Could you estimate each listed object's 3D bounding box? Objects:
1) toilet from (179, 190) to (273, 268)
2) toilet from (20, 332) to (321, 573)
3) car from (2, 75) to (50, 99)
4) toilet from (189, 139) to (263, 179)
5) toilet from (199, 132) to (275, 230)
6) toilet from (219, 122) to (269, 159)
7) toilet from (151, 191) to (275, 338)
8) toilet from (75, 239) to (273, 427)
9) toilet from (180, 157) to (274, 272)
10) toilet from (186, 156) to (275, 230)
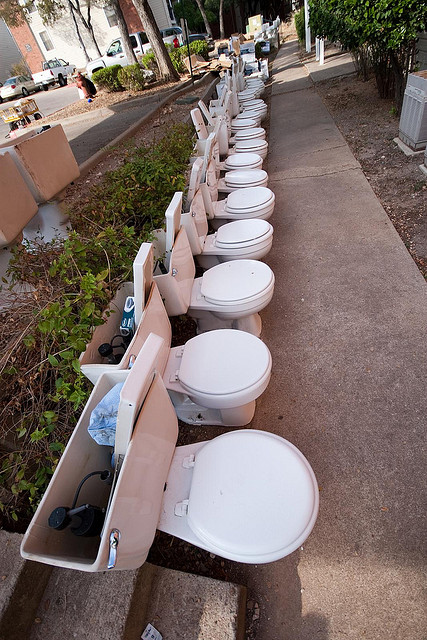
[{"bbox_3d":[0.101,-0.697,3.309,0.698,0.741,0.431,-3,36,16],"label":"toilet"},{"bbox_3d":[-0.107,0.520,1.447,0.836,0.850,0.768,-5,40,20],"label":"toilet"},{"bbox_3d":[-9.896,-12.149,21.578,1.066,0.841,2.574,9,53,16],"label":"car"},{"bbox_3d":[0.195,-1.780,4.603,0.656,0.483,0.363,-1,37,12],"label":"toilet"},{"bbox_3d":[0.209,-1.197,3.752,0.652,0.937,0.513,-9,36,2],"label":"toilet"},{"bbox_3d":[0.375,-2.120,4.885,0.559,0.537,0.423,-1,62,10],"label":"toilet"},{"bbox_3d":[0.013,-0.325,2.775,0.749,1.022,0.543,-7,35,5],"label":"toilet"},{"bbox_3d":[-0.107,0.187,2.150,0.766,0.953,0.590,0,43,8],"label":"toilet"},{"bbox_3d":[0.181,-1.016,3.248,0.556,0.757,0.411,-6,42,18],"label":"toilet"},{"bbox_3d":[0.190,-1.156,3.776,0.676,0.745,0.513,2,44,14],"label":"toilet"}]
